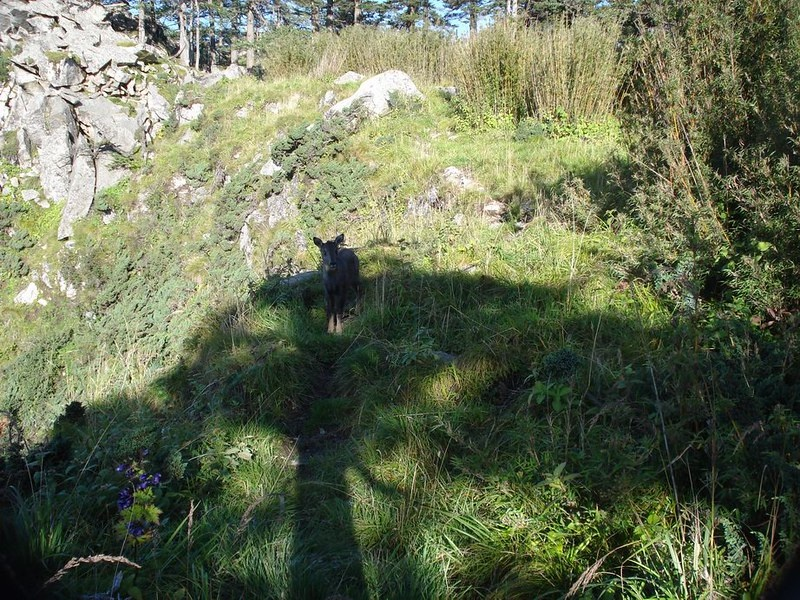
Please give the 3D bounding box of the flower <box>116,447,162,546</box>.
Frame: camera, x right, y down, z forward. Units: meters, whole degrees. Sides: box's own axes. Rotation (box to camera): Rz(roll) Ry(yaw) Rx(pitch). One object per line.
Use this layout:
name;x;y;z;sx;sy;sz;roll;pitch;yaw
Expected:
flower;-2.781;2.094;7.167;0.475;0.646;1.009;-9;21;-22

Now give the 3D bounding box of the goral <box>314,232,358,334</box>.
goral;-0.979;-0.330;10.833;0.514;1.332;1.197;0;18;4
